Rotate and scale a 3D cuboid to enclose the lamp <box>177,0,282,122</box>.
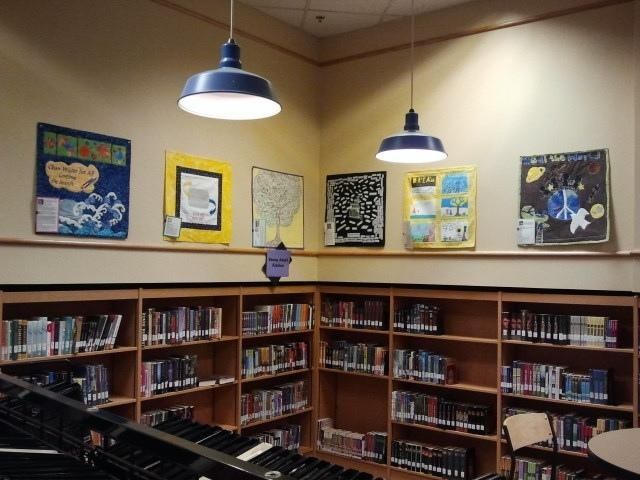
[{"bbox_3d":[-0.569,-1.098,2.999,0.556,0.540,0.677,-1,0,-34],"label":"lamp"}]

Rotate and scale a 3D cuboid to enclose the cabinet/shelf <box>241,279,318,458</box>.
[{"bbox_3d":[-0.460,1.416,5.524,0.521,1.725,1.840,0,10,18],"label":"cabinet/shelf"}]
